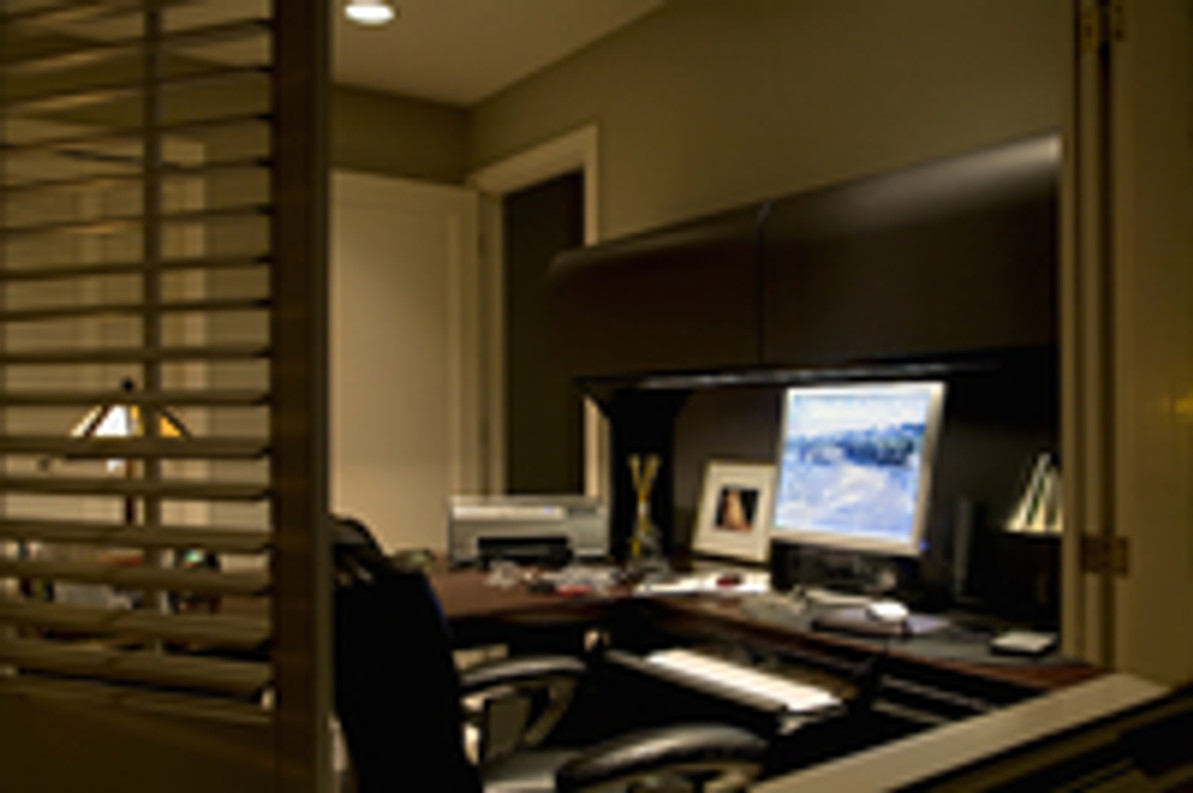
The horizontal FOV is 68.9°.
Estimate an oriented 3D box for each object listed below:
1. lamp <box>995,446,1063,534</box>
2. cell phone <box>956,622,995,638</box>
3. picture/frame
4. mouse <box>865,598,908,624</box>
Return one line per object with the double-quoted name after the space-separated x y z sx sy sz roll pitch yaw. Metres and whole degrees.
1.090 0.242 2.176 0.180 0.180 0.177 3 -3 -41 "lamp"
0.883 0.546 2.031 0.083 0.023 0.089 0 -3 23 "cell phone"
0.455 0.375 2.917 0.360 0.300 0.038 12 -3 -41 "picture/frame"
0.704 0.523 2.107 0.098 0.034 0.115 0 -3 17 "mouse"
